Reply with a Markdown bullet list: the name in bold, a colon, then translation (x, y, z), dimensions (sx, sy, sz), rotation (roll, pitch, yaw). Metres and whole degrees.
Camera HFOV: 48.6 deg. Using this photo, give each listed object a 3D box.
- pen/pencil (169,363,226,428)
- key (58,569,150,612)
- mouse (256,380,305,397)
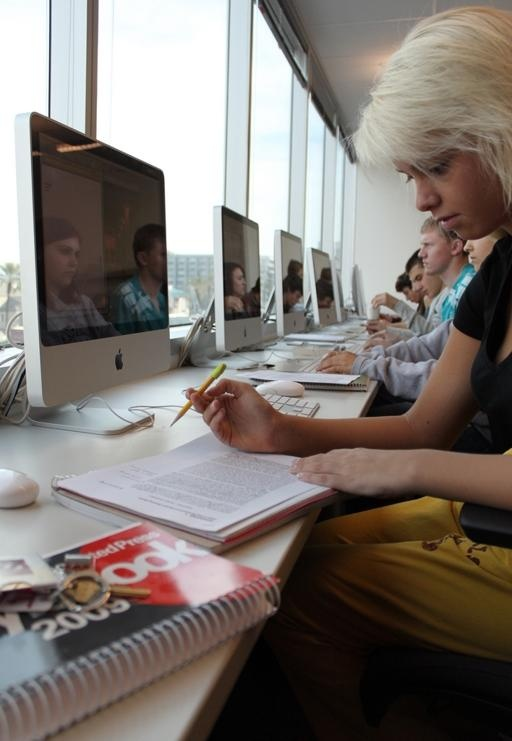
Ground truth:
- **pen/pencil**: translation (-0.103, 0.046, 1.043), dimensions (0.023, 0.149, 0.023), rotation (44, -5, -8)
- **key**: translation (-0.105, 0.148, 0.402), dimensions (0.041, 0.015, 0.057), rotation (6, 11, -31)
- **mouse**: translation (0.067, 0.044, 1.376), dimensions (0.075, 0.023, 0.052), rotation (6, -2, 13)
